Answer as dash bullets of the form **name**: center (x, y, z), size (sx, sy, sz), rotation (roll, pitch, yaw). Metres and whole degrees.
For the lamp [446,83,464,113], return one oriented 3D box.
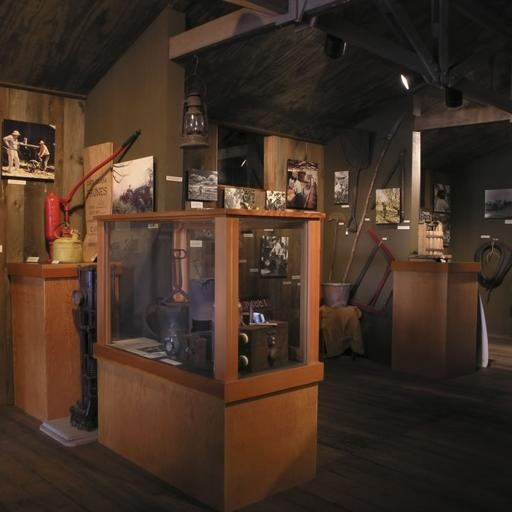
- **lamp**: center (1.825, -1.471, 4.497), size (0.152, 0.218, 0.173), rotation (1, 9, 5)

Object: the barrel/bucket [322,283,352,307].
- **barrel/bucket**: center (1.026, 0.487, 6.211), size (0.273, 0.253, 0.277), rotation (1, -1, 0)

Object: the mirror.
- **mirror**: center (-0.189, -1.137, 6.133), size (0.866, 1.009, 0.478), rotation (0, 4, -40)

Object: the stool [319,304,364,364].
- **stool**: center (1.032, 0.930, 5.930), size (0.458, 0.746, 0.545), rotation (3, -3, -31)

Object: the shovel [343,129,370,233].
- **shovel**: center (1.331, -0.967, 6.444), size (0.406, 1.341, 0.239), rotation (-1, -2, 35)

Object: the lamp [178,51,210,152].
- **lamp**: center (-0.496, -1.219, 3.909), size (0.201, 0.874, 0.785), rotation (0, -1, -9)

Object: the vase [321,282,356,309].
- **vase**: center (1.012, 0.499, 6.213), size (0.273, 0.256, 0.283), rotation (2, -2, -29)
